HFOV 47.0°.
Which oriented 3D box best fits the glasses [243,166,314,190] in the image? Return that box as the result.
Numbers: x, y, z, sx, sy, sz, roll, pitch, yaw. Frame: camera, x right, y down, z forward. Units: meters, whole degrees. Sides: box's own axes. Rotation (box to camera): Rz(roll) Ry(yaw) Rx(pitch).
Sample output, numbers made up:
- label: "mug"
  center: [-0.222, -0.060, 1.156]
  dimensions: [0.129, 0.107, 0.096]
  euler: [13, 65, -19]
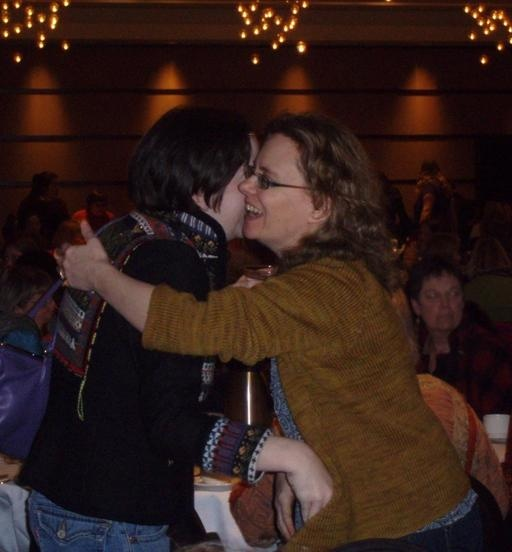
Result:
- label: "glasses"
  center: [0.037, -0.212, 1.314]
  dimensions: [0.090, 0.023, 0.081]
  euler: [4, 19, -15]
